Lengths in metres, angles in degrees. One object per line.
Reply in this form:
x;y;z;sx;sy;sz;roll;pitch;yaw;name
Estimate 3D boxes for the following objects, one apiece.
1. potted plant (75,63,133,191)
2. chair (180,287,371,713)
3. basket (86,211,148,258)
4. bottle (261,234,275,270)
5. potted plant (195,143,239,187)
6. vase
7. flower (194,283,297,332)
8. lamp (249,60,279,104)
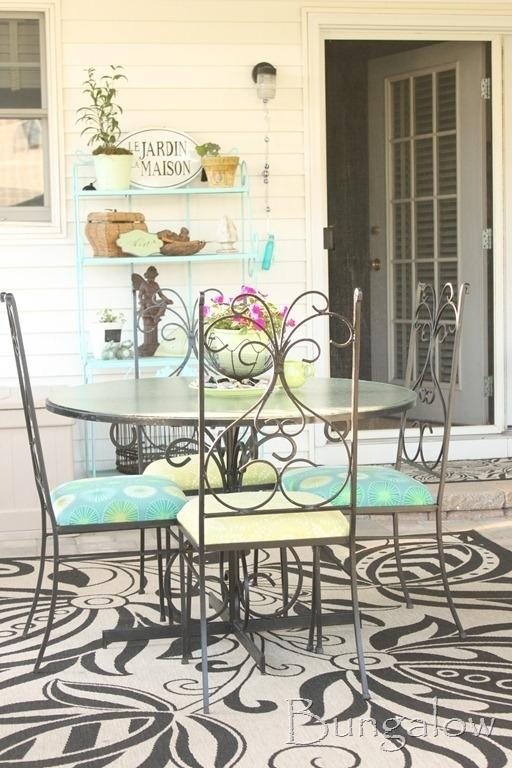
-0.717;-1.208;3.803;0.220;0.495;0.206;-9;15;-24;potted plant
0.040;0.228;2.322;0.564;0.999;1.662;0;3;5;chair
-0.689;-0.721;3.830;0.256;0.205;0.239;-4;7;-36;basket
0.065;-0.708;4.200;0.074;0.185;0.106;0;3;2;bottle
-0.177;-1.117;3.980;0.254;0.212;0.234;0;2;10;potted plant
-0.039;-0.065;2.094;0.164;0.128;0.169;1;0;-16;vase
-0.036;-0.181;2.006;0.265;0.115;0.211;5;2;39;flower
0.043;-1.597;4.073;0.132;0.202;0.167;0;3;0;lamp
